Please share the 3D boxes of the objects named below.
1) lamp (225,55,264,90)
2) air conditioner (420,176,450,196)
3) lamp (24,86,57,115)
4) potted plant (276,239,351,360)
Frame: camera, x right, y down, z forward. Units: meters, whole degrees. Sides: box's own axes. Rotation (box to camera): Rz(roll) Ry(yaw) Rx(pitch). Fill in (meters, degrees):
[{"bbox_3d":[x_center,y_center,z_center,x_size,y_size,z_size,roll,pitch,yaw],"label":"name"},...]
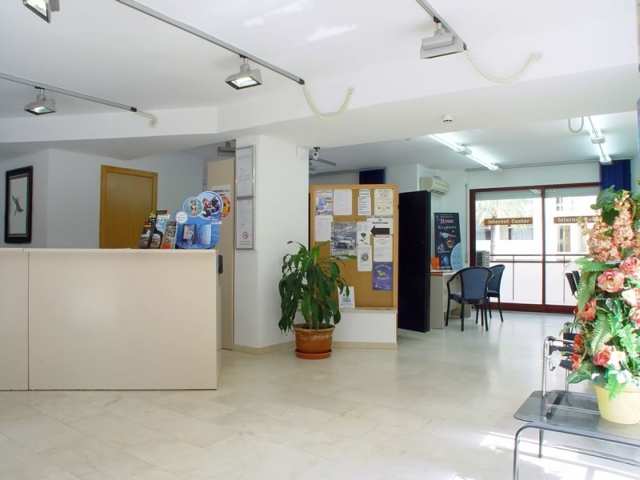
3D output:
[{"bbox_3d":[-0.813,-1.815,4.811,0.288,0.284,0.168,-5,-13,34],"label":"lamp"},{"bbox_3d":[2.597,-1.275,10.201,0.280,0.417,1.001,0,-1,38],"label":"air conditioner"},{"bbox_3d":[-3.427,-1.732,5.519,0.206,0.363,0.327,6,6,41],"label":"lamp"},{"bbox_3d":[-0.082,0.798,6.134,0.888,1.478,0.873,0,-1,6],"label":"potted plant"}]
